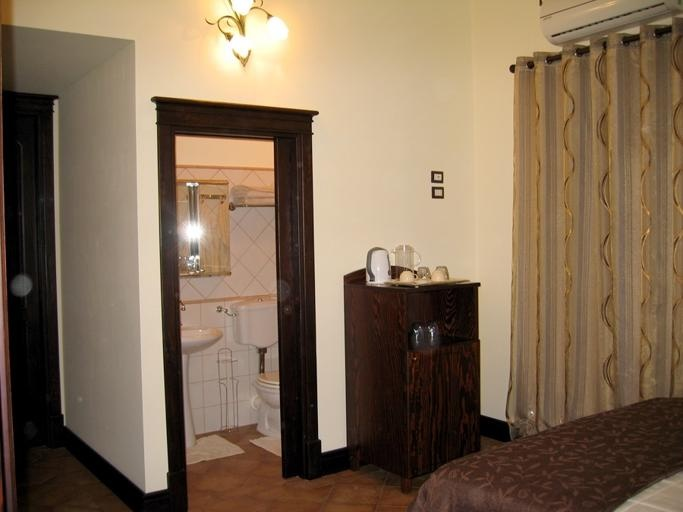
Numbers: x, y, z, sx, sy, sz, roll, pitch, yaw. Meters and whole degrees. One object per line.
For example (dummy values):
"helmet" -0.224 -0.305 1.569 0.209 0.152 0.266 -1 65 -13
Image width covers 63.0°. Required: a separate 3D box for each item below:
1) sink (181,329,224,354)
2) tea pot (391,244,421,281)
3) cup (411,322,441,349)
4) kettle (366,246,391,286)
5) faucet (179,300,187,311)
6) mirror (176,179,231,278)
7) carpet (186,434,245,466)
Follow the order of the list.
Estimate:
"sink" -1.167 0.704 4.670 0.318 0.165 0.406 -3 4 -19
"tea pot" 0.542 0.040 4.266 0.275 0.322 0.171 0 0 -21
"cup" 0.580 0.558 3.853 0.159 0.161 0.173 -2 1 0
"kettle" 0.268 0.076 4.060 0.222 0.263 0.172 -5 7 -41
"faucet" -1.365 0.437 4.817 0.029 0.087 0.172 -2 4 -11
"mirror" -1.241 -0.260 4.944 0.735 1.003 0.087 -2 7 -21
"carpet" -1.070 1.589 4.635 0.452 0.025 0.581 -3 4 -22
